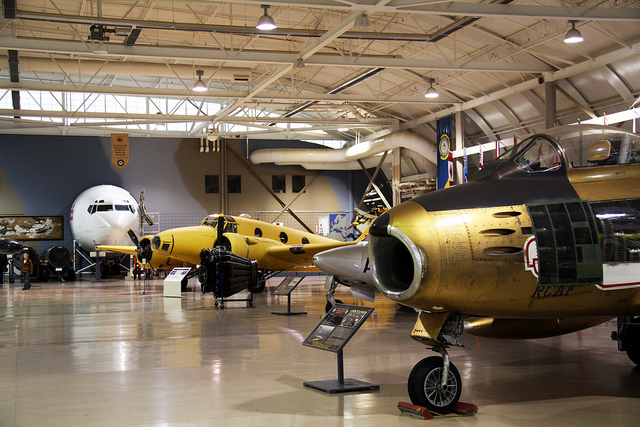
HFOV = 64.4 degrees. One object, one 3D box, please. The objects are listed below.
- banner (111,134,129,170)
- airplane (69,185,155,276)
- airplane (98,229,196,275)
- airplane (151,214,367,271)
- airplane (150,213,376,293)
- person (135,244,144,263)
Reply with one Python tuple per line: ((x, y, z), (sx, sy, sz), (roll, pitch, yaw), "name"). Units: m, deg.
((-10.572, -3.479, 27.121), (1.469, 1.979, 0.097), (3, 7, 24), "banner")
((-11.878, 0.523, 28.179), (4.969, 2.687, 5.908), (-4, 4, -17), "airplane")
((-6.436, 1.460, 21.008), (4.896, 0.815, 3.238), (4, 0, 19), "airplane")
((-2.125, 1.014, 18.263), (3.718, 0.981, 4.375), (8, -4, -37), "airplane")
((-2.320, 1.032, 18.484), (4.762, 1.558, 5.567), (7, -4, -36), "airplane")
((-6.985, 1.455, 19.787), (0.247, 0.619, 0.838), (-2, -4, -21), "person")
